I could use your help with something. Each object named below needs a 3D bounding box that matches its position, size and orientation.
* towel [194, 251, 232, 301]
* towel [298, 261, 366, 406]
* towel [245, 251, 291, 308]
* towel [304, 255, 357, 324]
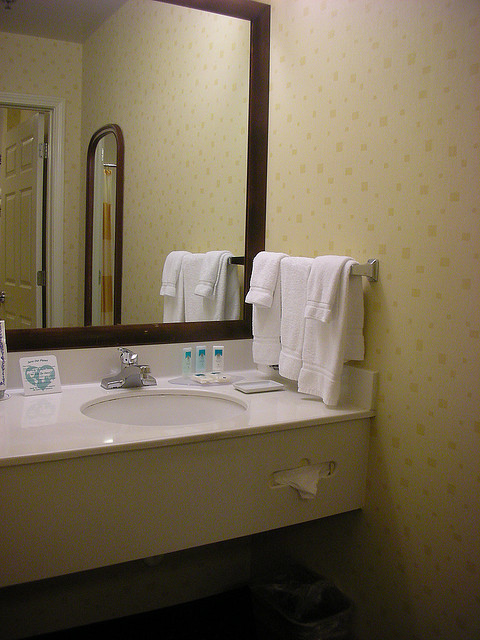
[{"bbox_3d":[-0.101,-0.152,1.738,0.121,0.156,0.043,8,1,35],"label":"towel"},{"bbox_3d":[0.242,0.041,1.335,0.089,0.356,0.228,5,4,-30],"label":"towel"},{"bbox_3d":[0.088,-0.124,1.568,0.048,0.179,0.147,5,-1,-37],"label":"towel"},{"bbox_3d":[0.246,-0.084,1.326,0.047,0.183,0.153,4,-1,-27],"label":"towel"}]
